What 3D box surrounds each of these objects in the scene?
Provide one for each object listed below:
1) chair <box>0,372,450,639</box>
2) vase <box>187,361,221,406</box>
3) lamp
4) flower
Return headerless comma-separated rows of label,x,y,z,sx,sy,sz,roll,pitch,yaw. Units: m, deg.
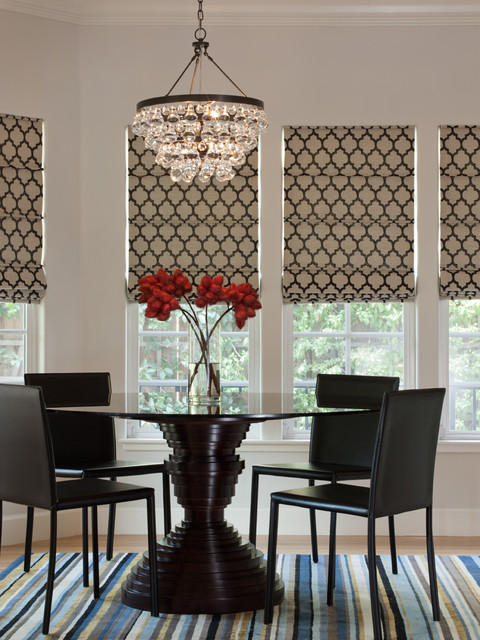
chair,0.095,0.669,2.306,1.006,0.544,1.034,0,-7,-2
vase,-0.127,0.229,2.355,0.172,0.143,0.178,-3,-8,17
lamp,-0.154,-0.717,2.489,0.491,0.245,0.422,2,-6,-9
flower,-0.197,0.080,3.131,0.622,0.658,0.285,1,-5,-17
